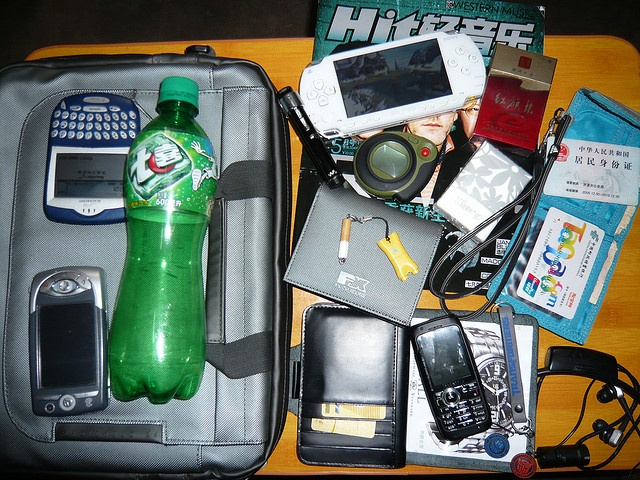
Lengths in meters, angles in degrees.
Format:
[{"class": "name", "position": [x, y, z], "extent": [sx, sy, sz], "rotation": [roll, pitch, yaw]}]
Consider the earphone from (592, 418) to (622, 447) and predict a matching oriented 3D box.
[{"class": "earphone", "position": [0.652, 0.439, 1.281], "extent": [0.063, 0.034, 0.048], "rotation": [32, 102, 18]}]

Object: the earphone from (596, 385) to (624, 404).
[{"class": "earphone", "position": [0.656, 0.351, 1.284], "extent": [0.051, 0.019, 0.038], "rotation": [-7, 96, 8]}]

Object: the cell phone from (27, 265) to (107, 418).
[{"class": "cell phone", "position": [-0.509, 0.204, 1.138], "extent": [0.147, 0.060, 0.284], "rotation": [-3, 75, -3]}]

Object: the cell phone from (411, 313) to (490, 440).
[{"class": "cell phone", "position": [0.287, 0.301, 1.269], "extent": [0.144, 0.056, 0.291], "rotation": [-17, 88, -3]}]

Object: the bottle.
[{"class": "bottle", "position": [-0.297, -0.031, 1.200], "extent": [0.193, 0.191, 0.716], "rotation": [-2, 79, 13]}]

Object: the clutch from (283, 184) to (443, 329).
[{"class": "clutch", "position": [0.095, 0.029, 1.254], "extent": [0.296, 0.041, 0.247], "rotation": [21, 75, 3]}]
